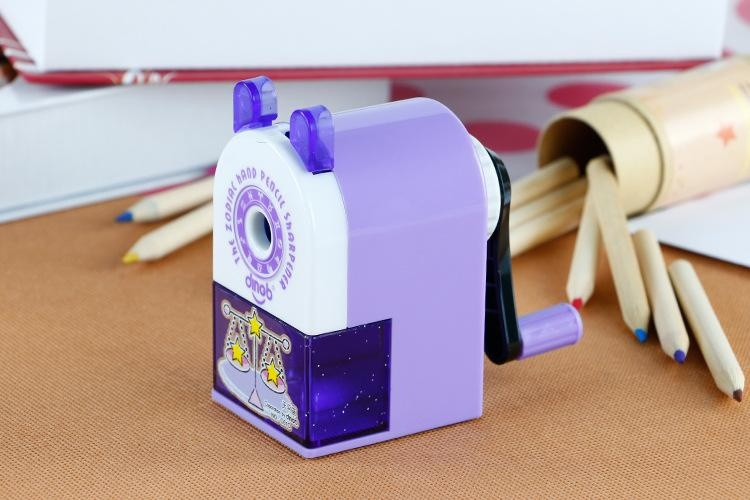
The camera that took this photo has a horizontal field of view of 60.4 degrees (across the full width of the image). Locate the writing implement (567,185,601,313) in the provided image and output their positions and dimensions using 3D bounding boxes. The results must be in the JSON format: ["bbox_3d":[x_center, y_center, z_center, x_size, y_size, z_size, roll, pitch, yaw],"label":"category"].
[{"bbox_3d":[0.279,-0.009,0.847,0.028,0.028,0.178,13,67,6],"label":"writing implement"}]
